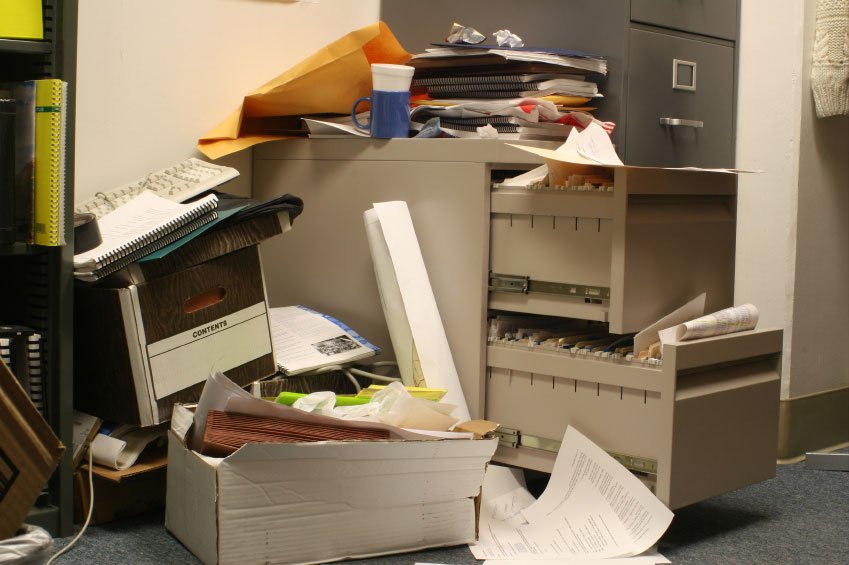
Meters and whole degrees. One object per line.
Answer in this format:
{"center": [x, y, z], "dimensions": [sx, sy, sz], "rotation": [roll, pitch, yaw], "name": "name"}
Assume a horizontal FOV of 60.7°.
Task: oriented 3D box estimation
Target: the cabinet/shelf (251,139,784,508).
{"center": [0.274, 0.037, 2.045], "dimensions": [1.210, 0.742, 0.751], "rotation": [10, 10, 36], "name": "cabinet/shelf"}

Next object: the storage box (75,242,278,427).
{"center": [-0.665, 0.109, 1.722], "dimensions": [0.467, 0.302, 0.459], "rotation": [0, 13, 20], "name": "storage box"}

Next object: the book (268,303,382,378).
{"center": [-0.317, 0.141, 1.794], "dimensions": [0.300, 0.039, 0.307], "rotation": [-8, 24, -40], "name": "book"}

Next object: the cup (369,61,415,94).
{"center": [-0.076, -0.511, 1.826], "dimensions": [0.089, 0.053, 0.085], "rotation": [5, 16, -1], "name": "cup"}

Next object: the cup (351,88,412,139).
{"center": [-0.110, -0.435, 1.892], "dimensions": [0.176, 0.117, 0.107], "rotation": [4, 10, 16], "name": "cup"}

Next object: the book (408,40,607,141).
{"center": [0.203, -0.493, 1.870], "dimensions": [0.578, 0.257, 0.302], "rotation": [4, 8, 14], "name": "book"}
